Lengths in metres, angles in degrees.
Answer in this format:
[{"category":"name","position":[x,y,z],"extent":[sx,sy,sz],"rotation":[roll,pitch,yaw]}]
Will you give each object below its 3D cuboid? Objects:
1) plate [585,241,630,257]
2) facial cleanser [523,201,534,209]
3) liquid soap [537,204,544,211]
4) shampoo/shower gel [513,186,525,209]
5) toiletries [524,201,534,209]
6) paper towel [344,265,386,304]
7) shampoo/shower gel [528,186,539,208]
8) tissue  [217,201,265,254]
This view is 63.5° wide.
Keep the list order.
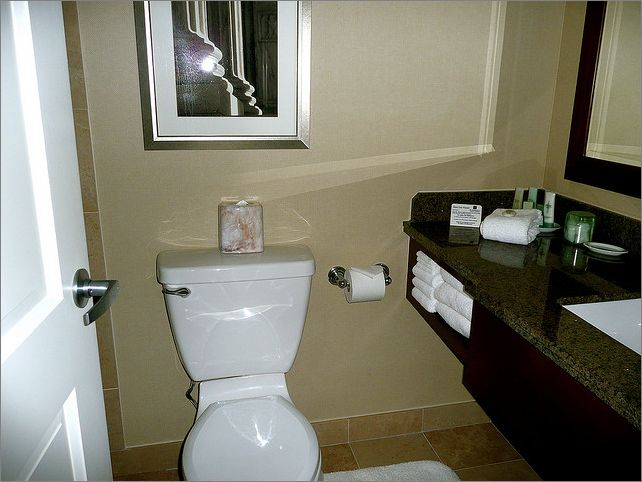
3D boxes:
[{"category":"plate","position":[0.945,0.029,1.718],"extent":[0.130,0.024,0.071],"rotation":[9,22,32]},{"category":"facial cleanser","position":[0.773,-0.132,1.926],"extent":[0.025,0.027,0.027],"rotation":[-13,24,-36]},{"category":"liquid soap","position":[0.835,-0.127,1.984],"extent":[0.030,0.008,0.030],"rotation":[-4,59,31]},{"category":"shampoo/shower gel","position":[0.753,-0.160,1.974],"extent":[0.037,0.083,0.081],"rotation":[4,20,20]},{"category":"toiletries","position":[0.775,-0.133,1.926],"extent":[0.026,0.027,0.026],"rotation":[-2,4,-1]},{"category":"paper towel","position":[0.165,0.160,1.949],"extent":[0.146,0.140,0.122],"rotation":[-1,3,-13]},{"category":"shampoo/shower gel","position":[0.791,-0.159,1.933],"extent":[0.030,0.069,0.065],"rotation":[4,20,20]},{"category":"tissue ","position":[-0.279,-0.055,1.786],"extent":[0.169,0.214,0.147],"rotation":[-2,12,-14]}]
